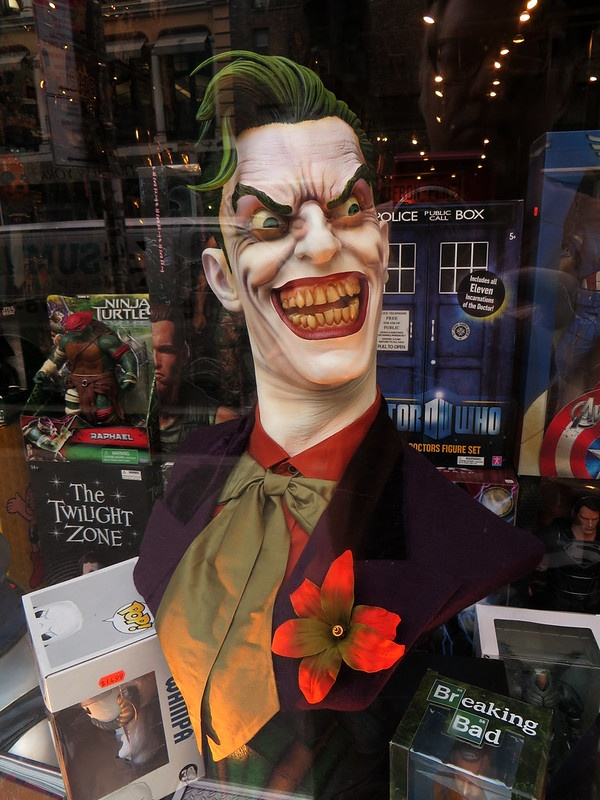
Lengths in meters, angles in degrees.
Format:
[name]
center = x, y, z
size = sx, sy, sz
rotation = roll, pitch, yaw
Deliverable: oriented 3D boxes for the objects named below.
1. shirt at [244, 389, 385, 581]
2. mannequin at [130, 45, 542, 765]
[shirt]
center = 0.035, 0.167, 1.153
size = 0.201, 0.342, 0.084
rotation = 16, -6, 27
[mannequin]
center = 0.034, 0.081, 1.052
size = 0.674, 1.300, 0.269
rotation = 4, 16, 20
